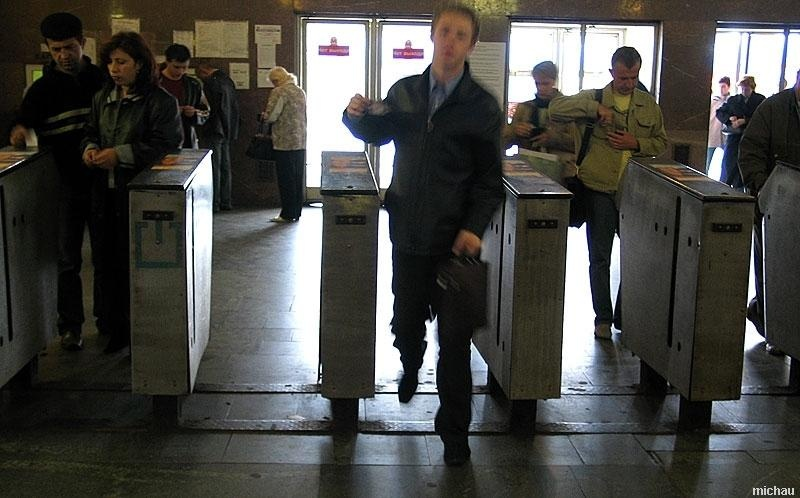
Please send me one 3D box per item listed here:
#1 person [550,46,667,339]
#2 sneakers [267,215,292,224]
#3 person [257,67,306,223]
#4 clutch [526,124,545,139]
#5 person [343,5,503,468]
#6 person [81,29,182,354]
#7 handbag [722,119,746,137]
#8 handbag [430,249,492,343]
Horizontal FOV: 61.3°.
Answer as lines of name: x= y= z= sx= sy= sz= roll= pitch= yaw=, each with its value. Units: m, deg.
person: x=1.759 y=-0.481 z=5.860 sx=1.000 sy=2.481 sz=0.534 roll=3 pitch=10 yaw=10
sneakers: x=-1.743 y=-0.420 z=9.781 sx=0.383 sy=0.137 sz=0.123 roll=6 pitch=3 yaw=4
person: x=-1.686 y=-1.500 z=9.761 sx=0.607 sy=2.179 sz=0.552 roll=-1 pitch=10 yaw=-11
clutch: x=1.213 y=-1.032 z=5.964 sx=0.136 sy=0.096 sz=0.120 roll=4 pitch=11 yaw=16
person: x=0.193 y=-0.090 z=4.217 sx=0.790 sy=2.738 sz=0.514 roll=7 pitch=12 yaw=30
person: x=-2.024 y=-0.372 z=5.081 sx=0.734 sy=2.412 sz=0.417 roll=1 pitch=10 yaw=-2
handbag: x=5.046 y=-1.830 z=10.218 sx=0.245 sy=0.123 sz=0.310 roll=-3 pitch=2 yaw=-6
handbag: x=0.361 y=0.265 z=4.005 sx=0.298 sy=0.453 sz=0.179 roll=2 pitch=10 yaw=3
